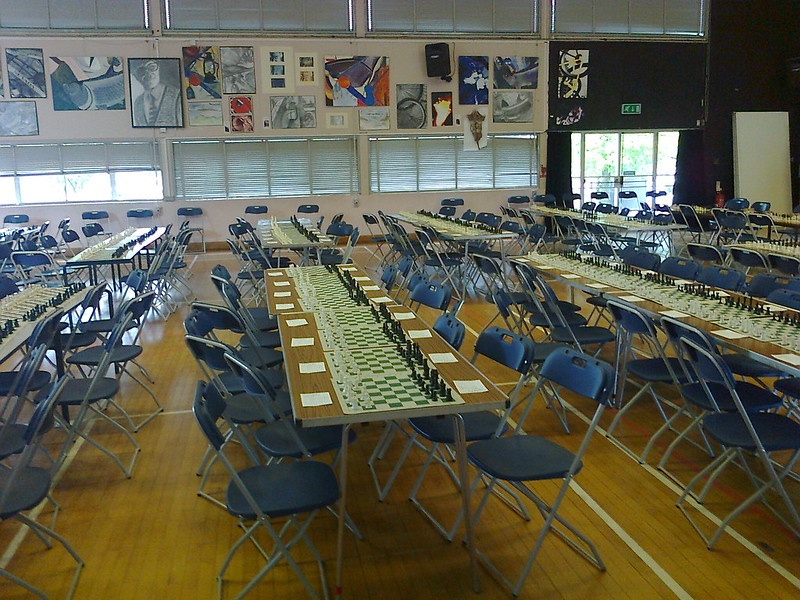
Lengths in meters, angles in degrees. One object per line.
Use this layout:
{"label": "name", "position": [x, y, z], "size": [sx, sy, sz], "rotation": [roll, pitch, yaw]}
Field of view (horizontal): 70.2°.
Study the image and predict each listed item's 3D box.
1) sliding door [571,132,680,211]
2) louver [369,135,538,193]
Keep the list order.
{"label": "sliding door", "position": [6.482, -3.621, 16.580], "size": [3.050, 3.030, 0.136], "rotation": [4, 49, 22]}
{"label": "louver", "position": [1.518, -3.750, 15.598], "size": [4.969, 1.498, 0.194], "rotation": [-6, 15, -16]}
